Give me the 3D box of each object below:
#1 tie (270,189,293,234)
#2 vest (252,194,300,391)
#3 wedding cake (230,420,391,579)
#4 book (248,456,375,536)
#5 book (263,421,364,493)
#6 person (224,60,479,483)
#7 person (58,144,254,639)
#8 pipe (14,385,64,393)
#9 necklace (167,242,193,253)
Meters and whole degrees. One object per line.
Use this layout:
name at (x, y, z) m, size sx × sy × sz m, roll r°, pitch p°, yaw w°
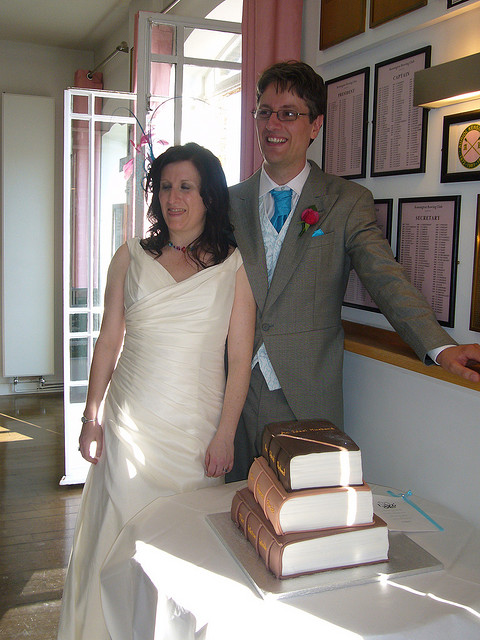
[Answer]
tie at (0.129, -0.327, 1.551) m, size 0.042 × 0.124 × 0.074 m, roll -5°, pitch 14°, yaw 14°
vest at (0.101, -0.090, 1.547) m, size 0.127 × 0.470 × 0.103 m, roll 2°, pitch 1°, yaw 13°
wedding cake at (0.128, 0.263, 0.827) m, size 0.212 × 0.168 × 0.258 m, roll -7°, pitch 5°, yaw 12°
book at (0.105, 0.269, 0.813) m, size 0.168 × 0.066 × 0.198 m, roll -1°, pitch 0°, yaw -3°
book at (0.112, 0.211, 0.830) m, size 0.130 × 0.062 × 0.193 m, roll -2°, pitch 2°, yaw -15°
person at (0.249, -0.078, 1.484) m, size 0.801 × 1.036 × 0.268 m, roll 3°, pitch 1°, yaw 43°
person at (-0.271, 0.193, 1.580) m, size 0.502 × 0.985 × 0.468 m, roll 1°, pitch 1°, yaw -35°
pipe at (-2.285, 0.772, 5.816) m, size 0.504 × 0.081 × 0.051 m, roll 2°, pitch 1°, yaw -23°
necklace at (-0.185, -0.225, 1.572) m, size 0.101 × 0.022 × 0.010 m, roll 3°, pitch 1°, yaw 34°
